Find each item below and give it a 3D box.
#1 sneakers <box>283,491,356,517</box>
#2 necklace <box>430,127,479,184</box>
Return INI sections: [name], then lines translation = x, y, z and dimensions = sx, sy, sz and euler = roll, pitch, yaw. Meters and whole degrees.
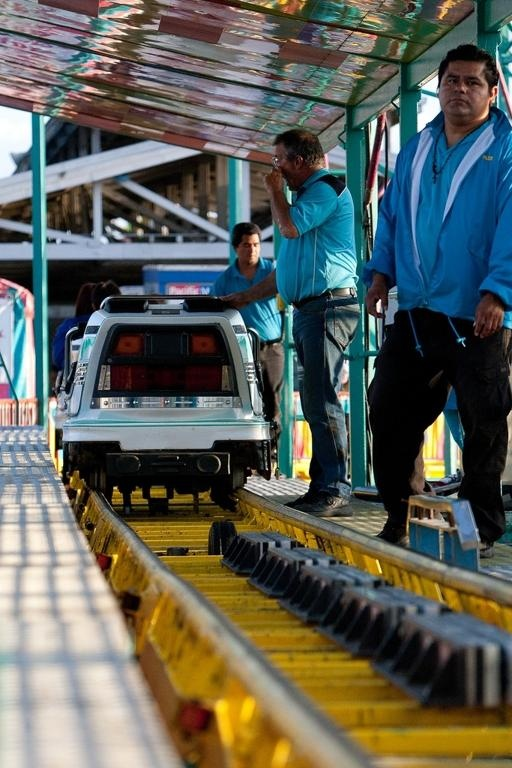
[sneakers]
translation = 0.529, 0.979, 5.513
dimensions = 0.610, 0.224, 0.211
euler = 6, -8, -5
[necklace]
translation = 1.128, -1.324, 3.926
dimensions = 0.200, 0.205, 0.300
euler = 4, 37, 4
